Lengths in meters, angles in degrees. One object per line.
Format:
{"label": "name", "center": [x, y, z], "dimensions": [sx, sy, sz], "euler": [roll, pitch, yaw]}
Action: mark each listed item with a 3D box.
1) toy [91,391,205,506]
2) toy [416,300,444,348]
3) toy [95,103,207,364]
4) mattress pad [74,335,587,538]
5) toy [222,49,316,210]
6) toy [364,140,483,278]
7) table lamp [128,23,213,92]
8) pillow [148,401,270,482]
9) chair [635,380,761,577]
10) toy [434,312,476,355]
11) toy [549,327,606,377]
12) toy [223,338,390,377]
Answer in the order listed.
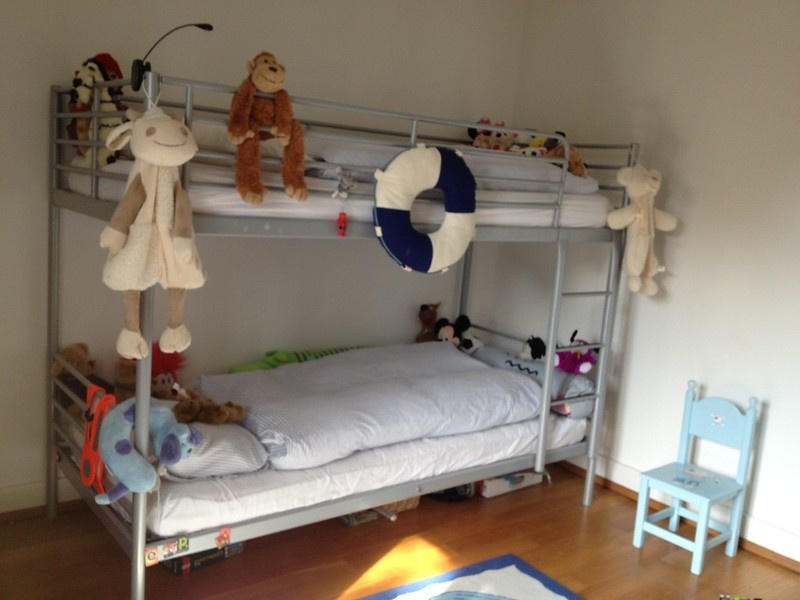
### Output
{"label": "toy", "center": [-1.117, 0.605, 2.833], "dimensions": [0.221, 0.441, 0.513], "euler": [3, -17, 21]}
{"label": "toy", "center": [0.209, 0.211, 4.827], "dimensions": [0.188, 0.412, 0.136], "euler": [3, -9, -12]}
{"label": "toy", "center": [-0.983, -0.264, 2.712], "dimensions": [0.395, 1.012, 0.244], "euler": [0, 10, -9]}
{"label": "mattress pad", "center": [-0.261, 0.667, 3.470], "dimensions": [1.852, 0.362, 0.897], "euler": [-6, 21, -32]}
{"label": "toy", "center": [-0.547, -0.735, 2.839], "dimensions": [0.314, 0.639, 0.239], "euler": [2, 9, 0]}
{"label": "toy", "center": [0.057, -0.447, 3.302], "dimensions": [0.189, 0.575, 0.584], "euler": [11, -1, -39]}
{"label": "table lamp", "center": [-0.913, -0.972, 2.739], "dimensions": [0.327, 0.313, 0.156], "euler": [4, 19, -18]}
{"label": "pillow", "center": [-0.812, 0.663, 3.058], "dimensions": [0.371, 0.114, 0.376], "euler": [0, 23, -28]}
{"label": "chair", "center": [1.699, 0.984, 3.860], "dimensions": [0.493, 0.962, 0.490], "euler": [-4, 10, -44]}
{"label": "toy", "center": [0.409, 0.225, 4.843], "dimensions": [0.257, 0.256, 0.350], "euler": [-4, 10, -19]}
{"label": "toy", "center": [1.139, 0.324, 4.295], "dimensions": [0.251, 0.298, 0.212], "euler": [15, -11, 30]}
{"label": "toy", "center": [-0.605, 0.363, 4.288], "dimensions": [1.306, 0.150, 0.225], "euler": [-7, 9, -34]}
